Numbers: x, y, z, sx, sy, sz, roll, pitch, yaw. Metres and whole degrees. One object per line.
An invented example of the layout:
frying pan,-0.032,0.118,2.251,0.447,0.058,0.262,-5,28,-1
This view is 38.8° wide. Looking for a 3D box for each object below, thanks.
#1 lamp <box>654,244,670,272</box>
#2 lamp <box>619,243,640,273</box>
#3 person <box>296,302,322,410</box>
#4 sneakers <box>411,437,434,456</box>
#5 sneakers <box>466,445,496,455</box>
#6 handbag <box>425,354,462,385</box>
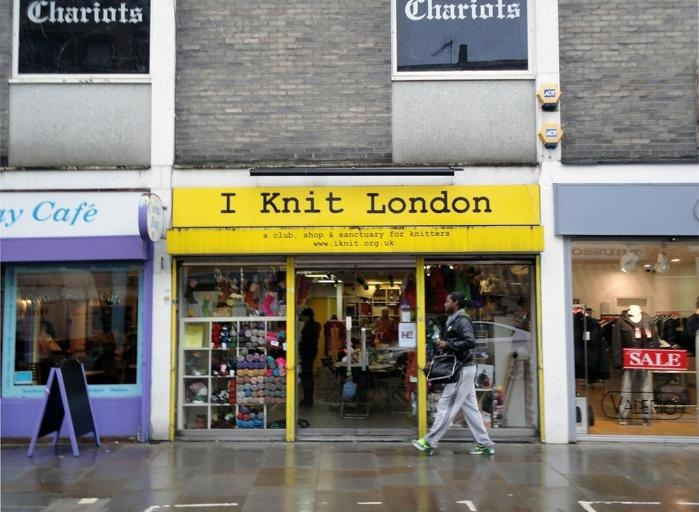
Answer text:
lamp,5.474,0.062,17.340,0.174,0.417,0.306,3,-7,1
lamp,4.923,0.066,17.331,0.332,0.454,0.073,-3,16,-9
person,-0.694,1.770,17.335,0.348,1.632,0.596,0,15,3
sneakers,1.219,3.149,16.427,0.211,0.163,0.451,-30,11,-10
sneakers,2.198,3.182,16.358,0.442,0.185,0.157,2,-2,0
handbag,1.569,1.855,16.147,0.497,0.411,0.222,-6,-25,22
